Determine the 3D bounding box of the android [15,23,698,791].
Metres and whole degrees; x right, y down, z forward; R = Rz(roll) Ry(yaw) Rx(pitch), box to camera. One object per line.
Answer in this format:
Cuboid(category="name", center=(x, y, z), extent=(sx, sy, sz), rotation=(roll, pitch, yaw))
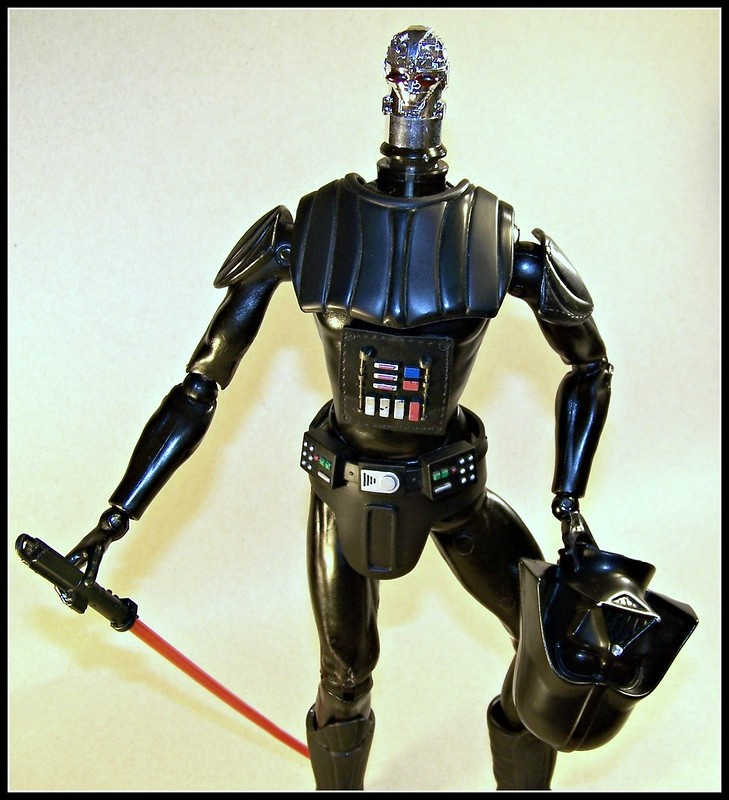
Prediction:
Cuboid(category="android", center=(0.103, 0.260, 2.970), extent=(1.537, 1.539, 1.728), rotation=(-27, -49, 33))
